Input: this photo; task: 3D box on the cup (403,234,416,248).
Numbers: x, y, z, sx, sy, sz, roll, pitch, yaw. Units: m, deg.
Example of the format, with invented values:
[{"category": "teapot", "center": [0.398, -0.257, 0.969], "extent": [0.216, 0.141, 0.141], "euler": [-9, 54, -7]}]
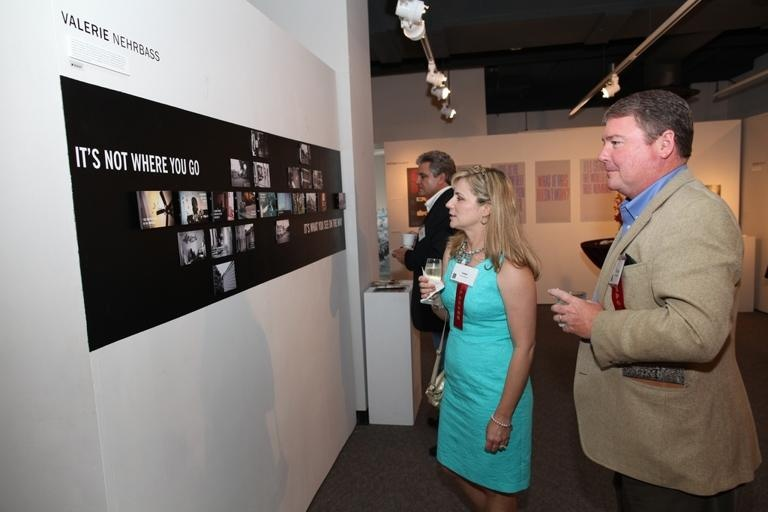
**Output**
[{"category": "cup", "center": [0.242, -0.155, 4.854], "extent": [0.116, 0.129, 0.123], "euler": [5, 9, -1]}]

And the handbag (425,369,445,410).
[{"category": "handbag", "center": [0.342, 0.894, 3.452], "extent": [0.088, 0.225, 0.140], "euler": [3, 11, -5]}]

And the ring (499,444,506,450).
[{"category": "ring", "center": [0.692, 1.114, 3.041], "extent": [0.043, 0.044, 0.031], "euler": [2, 5, -6]}]

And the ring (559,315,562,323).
[{"category": "ring", "center": [0.906, 0.324, 2.677], "extent": [0.007, 0.031, 0.031], "euler": [12, 30, -5]}]
